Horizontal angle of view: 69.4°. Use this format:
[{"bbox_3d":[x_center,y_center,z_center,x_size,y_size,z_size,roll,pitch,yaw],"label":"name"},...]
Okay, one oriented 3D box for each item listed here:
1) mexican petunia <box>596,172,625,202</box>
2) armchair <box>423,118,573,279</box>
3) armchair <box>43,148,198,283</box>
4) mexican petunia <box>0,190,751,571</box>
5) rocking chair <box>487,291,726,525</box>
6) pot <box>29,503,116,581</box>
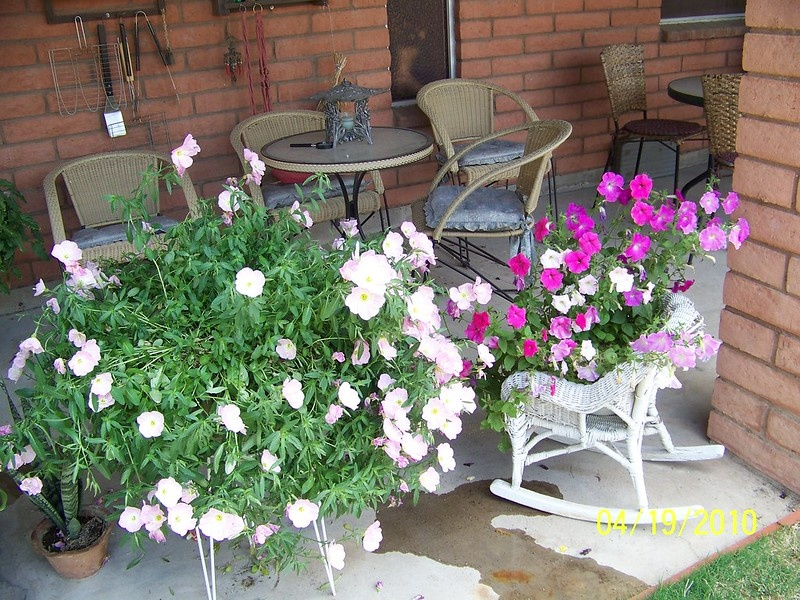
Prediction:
[{"bbox_3d":[0.723,-0.390,2.007,0.107,0.110,0.039,1,18,1],"label":"mexican petunia"},{"bbox_3d":[0.474,-0.564,3.183,0.863,0.732,0.716,2,45,4],"label":"armchair"},{"bbox_3d":[-1.271,-0.406,2.541,0.592,0.425,0.571,-12,55,-14],"label":"armchair"},{"bbox_3d":[-0.148,0.213,1.778,1.748,0.769,1.175,-3,6,-11],"label":"mexican petunia"},{"bbox_3d":[0.636,0.297,2.161,0.858,0.732,0.728,4,15,19],"label":"rocking chair"},{"bbox_3d":[-1.051,0.786,1.875,0.214,0.136,0.210,0,30,0],"label":"pot"}]
